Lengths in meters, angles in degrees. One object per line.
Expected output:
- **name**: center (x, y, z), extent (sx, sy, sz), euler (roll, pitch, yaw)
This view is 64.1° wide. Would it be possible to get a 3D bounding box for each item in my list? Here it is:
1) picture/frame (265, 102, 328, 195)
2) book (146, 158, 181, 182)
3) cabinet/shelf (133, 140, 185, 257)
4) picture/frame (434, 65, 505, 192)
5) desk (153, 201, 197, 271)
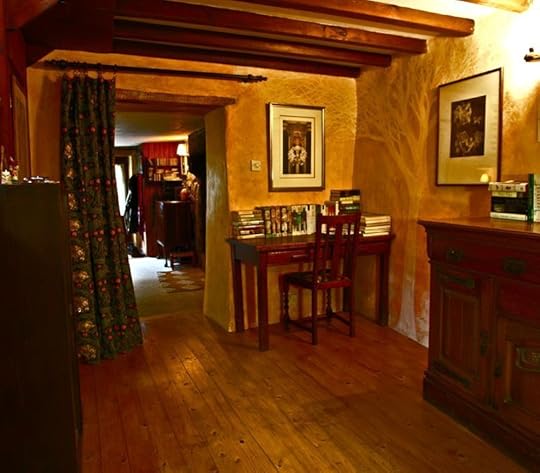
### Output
- **picture/frame**: center (0.229, -0.887, 4.206), extent (0.770, 1.083, 0.068), euler (-3, 5, -26)
- **book**: center (-2.065, -1.300, 8.381), extent (0.673, 0.444, 0.738), euler (-3, 8, -14)
- **cabinet/shelf**: center (-1.892, -0.677, 8.411), extent (0.797, 1.832, 0.974), euler (-13, -10, 11)
- **picture/frame**: center (1.470, -0.779, 3.214), extent (0.028, 0.799, 0.541), euler (-7, 9, -30)
- **desk**: center (-1.563, -0.059, 7.229), extent (0.594, 1.075, 0.789), euler (-3, 8, -14)
